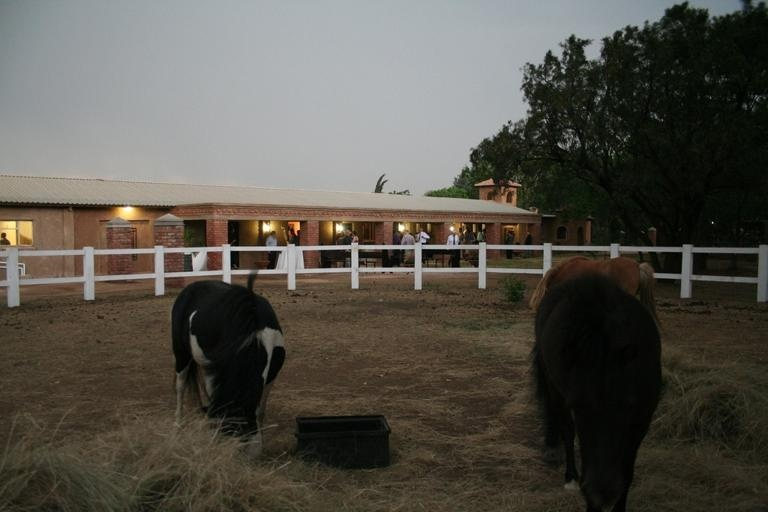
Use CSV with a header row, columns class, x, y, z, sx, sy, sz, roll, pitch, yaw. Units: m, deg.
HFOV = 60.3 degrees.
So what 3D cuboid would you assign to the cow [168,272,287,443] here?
class,x,y,z,sx,sy,sz,roll,pitch,yaw
cow,-1.995,1.224,8.313,1.434,2.051,0.725,6,9,32
